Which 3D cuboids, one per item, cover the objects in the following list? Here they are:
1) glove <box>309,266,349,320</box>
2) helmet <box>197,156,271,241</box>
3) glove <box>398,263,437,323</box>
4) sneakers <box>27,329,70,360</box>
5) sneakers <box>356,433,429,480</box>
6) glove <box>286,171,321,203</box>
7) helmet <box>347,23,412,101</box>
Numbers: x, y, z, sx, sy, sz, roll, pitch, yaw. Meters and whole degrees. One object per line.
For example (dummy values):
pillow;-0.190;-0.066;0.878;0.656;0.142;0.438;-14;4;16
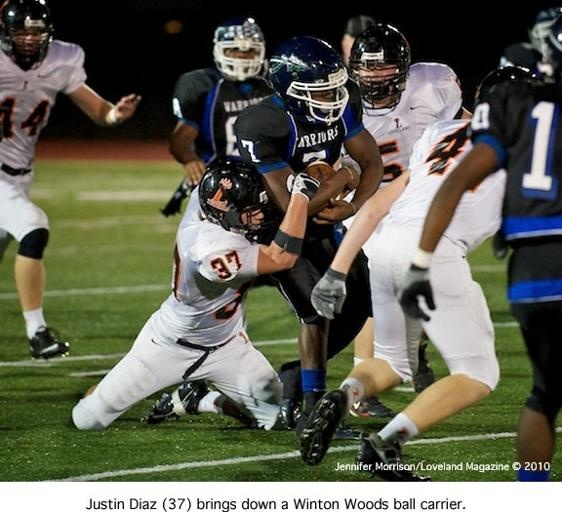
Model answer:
glove;0.183;0.145;2.716;0.138;0.199;0.056;23;48;5
helmet;-0.247;-0.254;2.967;0.390;0.263;0.255;18;22;1
glove;0.446;0.129;2.319;0.113;0.261;0.141;6;29;11
sneakers;-1.186;0.448;3.648;0.309;0.130;0.122;-1;4;45
sneakers;0.358;0.696;2.459;0.325;0.130;0.096;12;13;-20
glove;0.088;-0.278;2.846;0.108;0.051;0.129;18;19;-4
helmet;0.531;-1.021;3.612;0.337;0.367;0.381;0;48;18
